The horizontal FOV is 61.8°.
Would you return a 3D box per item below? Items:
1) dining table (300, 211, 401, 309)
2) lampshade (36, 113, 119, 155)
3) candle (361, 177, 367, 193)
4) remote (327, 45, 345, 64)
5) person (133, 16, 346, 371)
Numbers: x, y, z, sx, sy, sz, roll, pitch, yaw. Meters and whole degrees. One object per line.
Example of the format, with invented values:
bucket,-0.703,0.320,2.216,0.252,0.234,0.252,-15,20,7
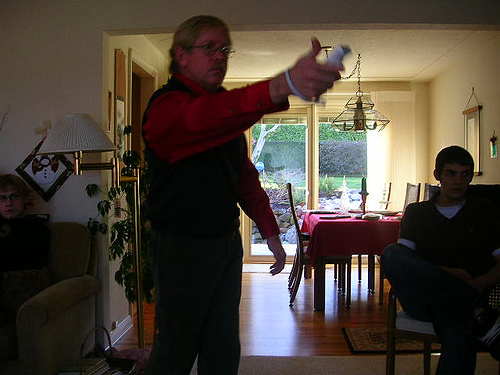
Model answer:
dining table,1.007,0.533,4.277,0.865,0.598,1.194,1,-2,-10
lampshade,-1.210,-0.333,2.941,0.555,0.279,0.574,-4,1,24
candle,1.268,0.002,4.620,0.046,0.167,0.162,0,3,18
remote,0.257,-0.380,1.244,0.050,0.053,0.009,0,3,13
person,-0.133,0.051,1.533,0.513,1.343,0.678,-1,3,-16
